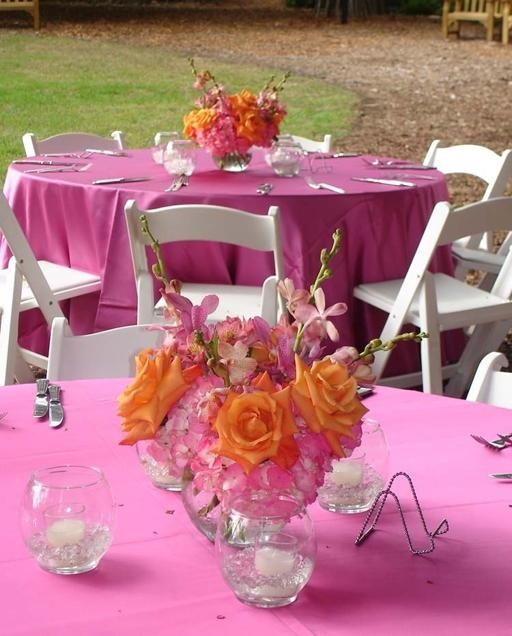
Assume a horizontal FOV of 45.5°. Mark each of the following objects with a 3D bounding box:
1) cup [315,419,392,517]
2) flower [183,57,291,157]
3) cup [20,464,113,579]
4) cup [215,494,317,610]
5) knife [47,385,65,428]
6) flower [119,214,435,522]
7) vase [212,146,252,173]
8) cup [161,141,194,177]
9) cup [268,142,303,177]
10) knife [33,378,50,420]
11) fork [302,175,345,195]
[{"bbox_3d":[0.103,0.132,0.614,0.050,0.044,0.042,16,56,6],"label":"cup"},{"bbox_3d":[-0.052,-0.818,2.429,0.336,0.324,0.303,27,35,14],"label":"flower"},{"bbox_3d":[-0.160,0.168,0.510,0.071,0.074,0.064,14,16,37],"label":"cup"},{"bbox_3d":[0.009,0.181,0.504,0.092,0.073,0.083,0,8,0],"label":"cup"},{"bbox_3d":[-0.275,0.118,0.836,0.019,0.014,0.115,2,15,-12],"label":"knife"},{"bbox_3d":[-0.016,0.017,0.595,0.237,0.260,0.268,18,27,40],"label":"flower"},{"bbox_3d":[-0.097,-0.656,2.517,0.108,0.079,0.118,-39,46,-22],"label":"vase"},{"bbox_3d":[-0.290,-0.608,2.363,0.166,0.136,0.147,1,11,5],"label":"cup"},{"bbox_3d":[0.117,-0.615,2.372,0.150,0.113,0.135,-2,12,-4],"label":"cup"},{"bbox_3d":[-0.302,0.112,0.854,0.018,0.012,0.092,3,24,-17],"label":"knife"},{"bbox_3d":[0.241,-0.486,2.187,0.053,0.038,0.248,-15,26,-32],"label":"fork"}]
